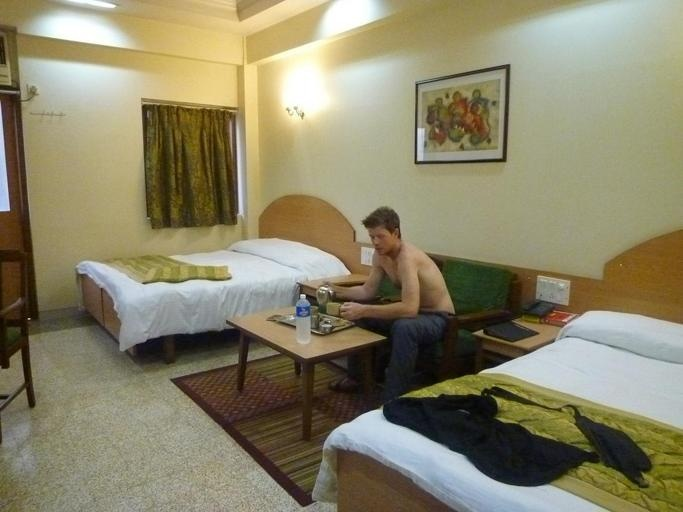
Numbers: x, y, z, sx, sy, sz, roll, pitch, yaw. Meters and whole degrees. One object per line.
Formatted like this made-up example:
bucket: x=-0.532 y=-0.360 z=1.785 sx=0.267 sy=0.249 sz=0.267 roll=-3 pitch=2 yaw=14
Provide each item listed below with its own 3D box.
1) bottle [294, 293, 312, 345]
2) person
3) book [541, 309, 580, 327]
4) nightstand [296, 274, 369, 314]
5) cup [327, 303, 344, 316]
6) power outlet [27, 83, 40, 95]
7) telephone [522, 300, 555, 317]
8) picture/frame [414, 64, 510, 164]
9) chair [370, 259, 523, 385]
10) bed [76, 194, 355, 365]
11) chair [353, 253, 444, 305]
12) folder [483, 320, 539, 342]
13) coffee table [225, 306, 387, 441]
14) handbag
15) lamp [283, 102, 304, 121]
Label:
bottle: x=-0.245 y=0.385 z=3.028 sx=0.098 sy=0.302 sz=0.234 roll=-1 pitch=13 yaw=-5
person: x=0.347 y=0.375 z=3.404 sx=1.048 sy=1.402 sz=0.800 roll=0 pitch=4 yaw=-11
book: x=1.508 y=0.414 z=3.207 sx=0.131 sy=0.044 sz=0.127 roll=-20 pitch=21 yaw=-38
nightstand: x=-0.127 y=0.257 z=4.412 sx=0.471 sy=0.229 sz=0.307 roll=-10 pitch=17 yaw=-39
cup: x=-0.050 y=0.391 z=3.449 sx=0.076 sy=0.095 sz=0.140 roll=0 pitch=4 yaw=-16
power outlet: x=-3.163 y=-1.722 z=4.786 sx=0.065 sy=0.121 sz=0.122 roll=10 pitch=14 yaw=35
telephone: x=1.383 y=0.358 z=3.242 sx=0.143 sy=0.048 sz=0.123 roll=-23 pitch=26 yaw=-38
picture/frame: x=1.000 y=-1.151 z=3.754 sx=0.042 sy=0.723 sz=0.910 roll=-2 pitch=5 yaw=-44
chair: x=0.806 y=0.523 z=3.590 sx=0.850 sy=0.970 sz=0.965 roll=8 pitch=6 yaw=38
bed: x=-1.354 y=0.014 z=4.950 sx=2.231 sy=1.285 sz=2.178 roll=-4 pitch=11 yaw=-36
chair: x=0.435 y=0.175 z=3.404 sx=0.567 sy=0.386 sz=0.420 roll=-5 pitch=3 yaw=-25
folder: x=1.083 y=0.484 z=3.025 sx=0.162 sy=0.042 sz=0.152 roll=-13 pitch=19 yaw=-37
coffee table: x=-0.158 y=0.493 z=3.137 sx=0.708 sy=0.566 sz=1.083 roll=-7 pitch=13 yaw=-39
handbag: x=1.028 y=0.737 z=1.798 sx=0.304 sy=0.077 sz=0.222 roll=11 pitch=16 yaw=40
lamp: x=-0.586 y=-1.682 z=5.413 sx=0.096 sy=0.155 sz=0.415 roll=-12 pitch=24 yaw=-26
